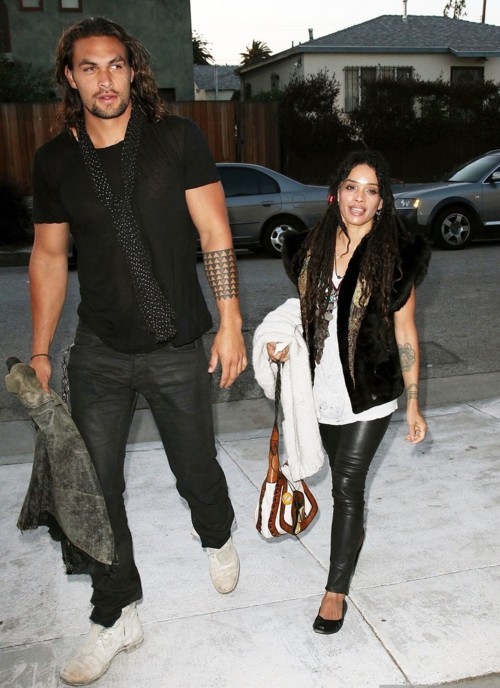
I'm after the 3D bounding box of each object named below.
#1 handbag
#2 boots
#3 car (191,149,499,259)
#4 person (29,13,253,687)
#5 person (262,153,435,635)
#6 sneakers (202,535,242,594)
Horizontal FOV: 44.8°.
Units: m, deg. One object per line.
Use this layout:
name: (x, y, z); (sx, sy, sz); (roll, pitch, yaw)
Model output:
handbag: (0.147, 0.619, 2.360); (0.142, 0.237, 0.271); (3, 3, 38)
boots: (-0.480, 0.986, 2.006); (0.112, 0.169, 0.300); (4, 3, 32)
car: (2.244, -2.632, 13.735); (7.154, 2.194, 2.863); (0, 6, -9)
person: (-0.375, 0.009, 2.011); (0.672, 2.070, 0.466); (-6, 11, -19)
person: (0.404, 0.145, 2.243); (0.521, 1.689, 0.593); (-2, 10, 3)
sneakers: (-0.121, 0.896, 2.435); (0.104, 0.263, 0.111); (-16, 2, 16)
